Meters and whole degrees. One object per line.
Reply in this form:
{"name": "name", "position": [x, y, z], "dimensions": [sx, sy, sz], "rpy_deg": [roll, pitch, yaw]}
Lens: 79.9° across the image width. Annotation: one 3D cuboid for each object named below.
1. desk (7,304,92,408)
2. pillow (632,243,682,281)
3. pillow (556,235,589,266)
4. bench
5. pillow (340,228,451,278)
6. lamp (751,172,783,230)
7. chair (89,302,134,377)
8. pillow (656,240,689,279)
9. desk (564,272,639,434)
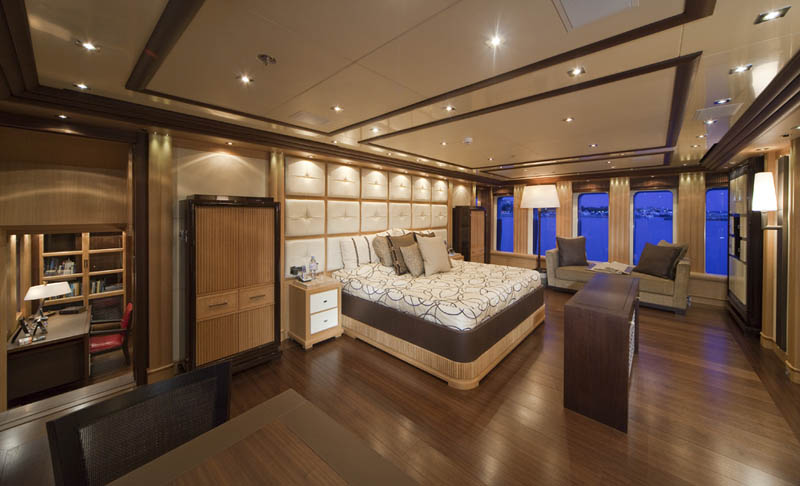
{"name": "desk", "position": [-4.673, 1.248, 6.323], "dimensions": [0.804, 0.732, 1.562], "rpy_deg": [-5, 8, -41]}
{"name": "pillow", "position": [4.571, 0.298, 8.406], "dimensions": [0.187, 0.593, 0.631], "rpy_deg": [21, 3, -23]}
{"name": "pillow", "position": [3.468, 0.190, 9.612], "dimensions": [0.643, 0.616, 0.227], "rpy_deg": [-2, -6, -13]}
{"name": "bench", "position": [4.157, 0.518, 9.118], "dimensions": [2.411, 1.125, 1.038], "rpy_deg": [6, 12, 35]}
{"name": "pillow", "position": [0.067, 0.167, 7.842], "dimensions": [1.013, 0.330, 1.030], "rpy_deg": [10, 10, 39]}
{"name": "lamp", "position": [5.178, -0.602, 6.729], "dimensions": [0.301, 0.811, 0.743], "rpy_deg": [0, 3, 37]}
{"name": "chair", "position": [-4.163, 1.347, 6.883], "dimensions": [0.532, 0.831, 0.433], "rpy_deg": [-4, 3, -31]}
{"name": "pillow", "position": [4.865, 0.299, 8.397], "dimensions": [0.177, 0.560, 0.595], "rpy_deg": [8, 8, 19]}
{"name": "desk", "position": [2.447, 1.395, 5.786], "dimensions": [0.578, 0.976, 1.631], "rpy_deg": [1, 9, 30]}
